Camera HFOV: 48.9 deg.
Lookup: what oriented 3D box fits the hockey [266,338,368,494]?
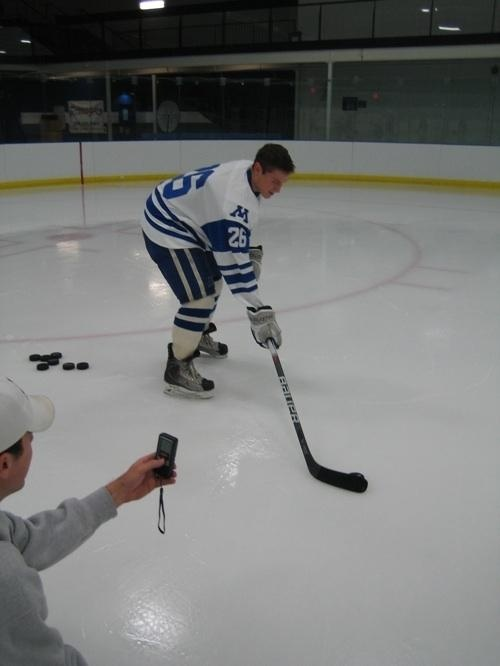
[{"bbox_3d":[0.178,0.231,1.769,0.107,0.091,0.684,5,27,-18],"label":"hockey"}]

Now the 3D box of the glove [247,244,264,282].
[{"bbox_3d":[0.030,-0.343,2.566,0.091,0.208,0.072,-6,-8,16],"label":"glove"}]

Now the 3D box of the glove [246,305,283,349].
[{"bbox_3d":[0.049,-0.017,2.095,0.120,0.193,0.164,-1,15,-2],"label":"glove"}]

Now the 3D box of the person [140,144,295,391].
[{"bbox_3d":[-0.161,-0.255,2.199,0.454,0.951,0.658,-11,18,-33],"label":"person"}]
